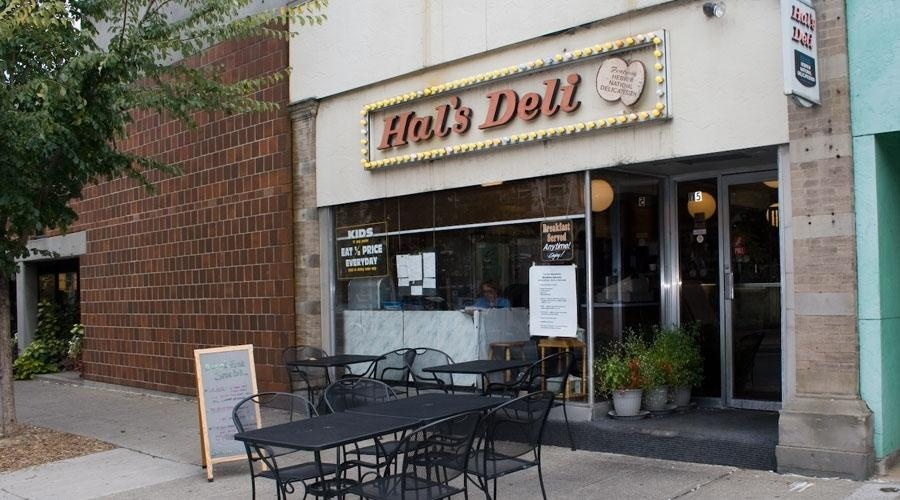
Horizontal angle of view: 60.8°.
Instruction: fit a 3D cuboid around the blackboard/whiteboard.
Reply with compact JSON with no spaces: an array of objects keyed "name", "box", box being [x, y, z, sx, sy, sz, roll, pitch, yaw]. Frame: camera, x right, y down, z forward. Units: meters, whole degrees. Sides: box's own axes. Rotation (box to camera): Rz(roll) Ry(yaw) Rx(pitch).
[{"name":"blackboard/whiteboard","box":[-3.407,2.386,11.786,0.281,1.811,1.135,-4,-5,39]}]
